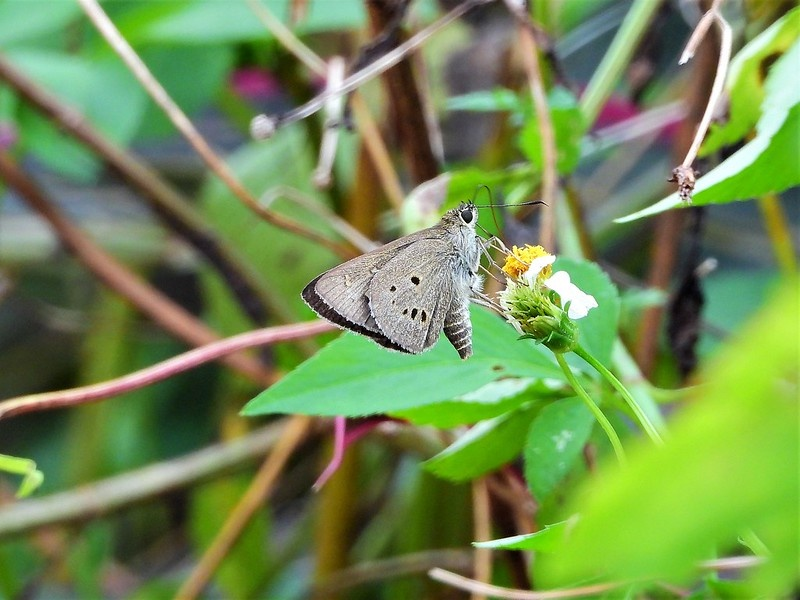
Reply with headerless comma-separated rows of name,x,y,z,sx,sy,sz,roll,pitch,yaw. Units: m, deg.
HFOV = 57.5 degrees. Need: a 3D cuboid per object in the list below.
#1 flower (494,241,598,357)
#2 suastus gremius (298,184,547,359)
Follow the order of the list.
flower,0.097,0.002,0.549,0.079,0.044,0.080,21,33,23
suastus gremius,0.034,-0.020,0.644,0.171,0.160,0.077,-45,103,-25
